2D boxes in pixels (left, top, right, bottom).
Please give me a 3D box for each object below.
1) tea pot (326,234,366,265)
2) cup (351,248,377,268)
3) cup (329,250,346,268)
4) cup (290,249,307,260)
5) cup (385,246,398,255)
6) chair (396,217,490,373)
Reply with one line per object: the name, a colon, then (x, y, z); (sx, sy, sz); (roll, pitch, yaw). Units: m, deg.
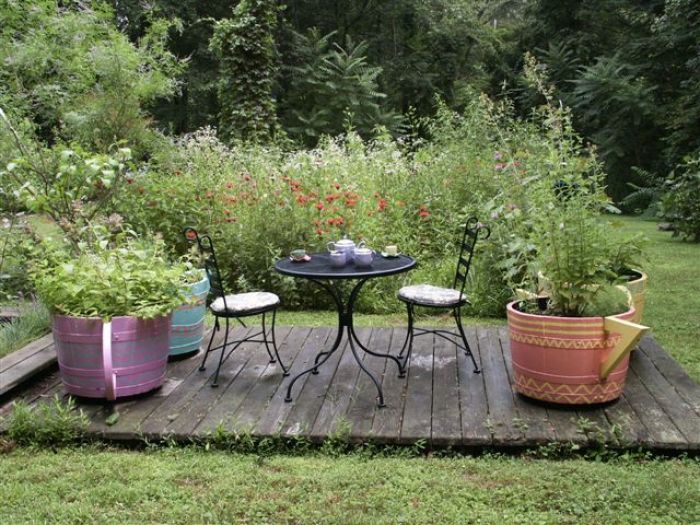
tea pot: (-0.002, -0.083, 4.036); (0.292, 0.196, 0.164); (0, 0, -21)
cup: (0.093, -0.044, 4.023); (0.145, 0.141, 0.217); (-1, 16, -1)
cup: (-0.094, -0.022, 4.027); (0.111, 0.091, 0.111); (0, 4, 0)
cup: (-0.401, -0.062, 4.302); (0.133, 0.073, 0.103); (-2, 6, 3)
cup: (0.313, -0.099, 4.299); (0.071, 0.052, 0.067); (-3, 14, 1)
chair: (0.713, 0.257, 4.454); (0.711, 1.088, 0.607); (0, 6, -3)
